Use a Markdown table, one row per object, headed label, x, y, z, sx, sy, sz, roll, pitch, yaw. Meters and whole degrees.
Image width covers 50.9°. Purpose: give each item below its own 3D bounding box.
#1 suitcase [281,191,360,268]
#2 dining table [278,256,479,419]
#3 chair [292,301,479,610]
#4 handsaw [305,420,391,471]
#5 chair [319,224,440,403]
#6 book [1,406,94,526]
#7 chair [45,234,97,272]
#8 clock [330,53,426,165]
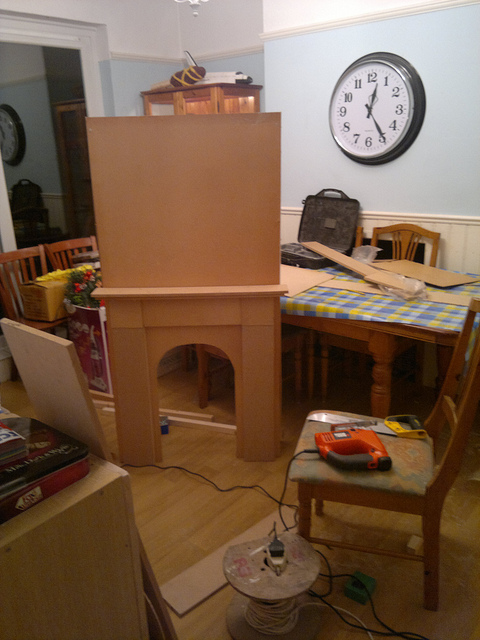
| label | x | y | z | sx | sy | sz | roll | pitch | yaw |
| --- | --- | --- | --- | --- | --- | --- | --- | --- | --- |
| suitcase | 0.444 | -0.571 | 3.206 | 0.476 | 0.427 | 0.499 | 15 | 28 | 37 |
| dining table | 0.753 | -0.134 | 2.540 | 1.040 | 0.491 | 0.869 | 17 | 32 | 35 |
| chair | 0.543 | 0.490 | 1.861 | 0.571 | 0.948 | 0.522 | 11 | 33 | 20 |
| handsaw | 0.331 | 0.399 | 1.594 | 0.252 | 0.055 | 0.204 | -1 | 18 | 3 |
| chair | 0.818 | -0.062 | 3.011 | 0.511 | 1.017 | 0.513 | -8 | 16 | -34 |
| book | -0.410 | 0.294 | 0.997 | 0.158 | 0.038 | 0.168 | 16 | 26 | 35 |
| chair | -1.205 | -0.461 | 3.550 | 0.201 | 0.330 | 0.222 | -26 | 37 | -35 |
| clock | 0.804 | -1.275 | 3.113 | 0.080 | 0.593 | 0.648 | -21 | 28 | -35 |
